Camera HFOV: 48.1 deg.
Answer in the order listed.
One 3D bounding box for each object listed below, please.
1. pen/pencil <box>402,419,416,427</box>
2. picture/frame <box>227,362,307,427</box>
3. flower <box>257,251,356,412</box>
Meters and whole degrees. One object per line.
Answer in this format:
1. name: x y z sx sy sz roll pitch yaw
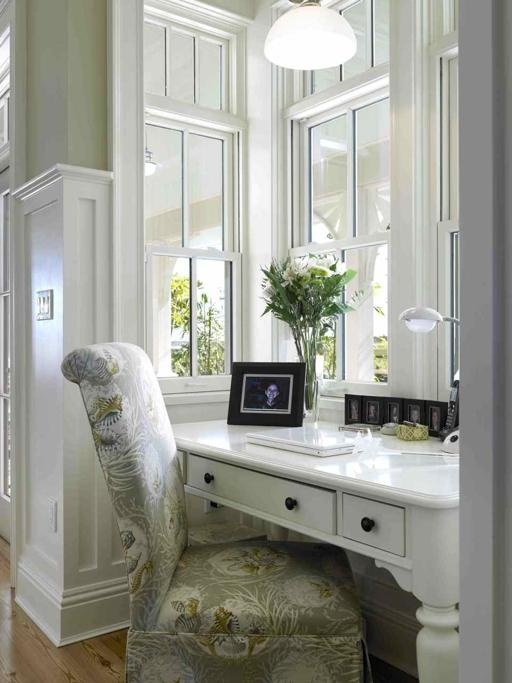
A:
1. pen/pencil: 0.506 0.272 1.890 0.016 0.025 0.076 13 2 -6
2. picture/frame: 0.052 0.209 2.159 0.209 0.218 0.016 -1 -16 23
3. flower: 0.192 -0.021 2.410 0.452 0.717 0.480 0 -3 1
